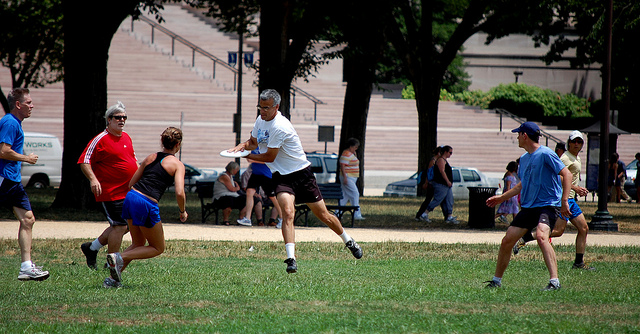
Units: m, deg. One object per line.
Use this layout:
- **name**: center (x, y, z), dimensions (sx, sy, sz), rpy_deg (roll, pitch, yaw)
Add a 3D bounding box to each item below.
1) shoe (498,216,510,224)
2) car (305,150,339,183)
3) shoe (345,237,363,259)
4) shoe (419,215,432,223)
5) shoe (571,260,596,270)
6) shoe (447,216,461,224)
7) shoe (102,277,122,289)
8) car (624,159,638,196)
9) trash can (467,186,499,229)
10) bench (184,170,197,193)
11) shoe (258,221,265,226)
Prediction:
- **shoe**: center (9.491, 2.617, 57.431), dimensions (0.549, 0.314, 0.975), rpy_deg (1, 0, 8)
- **car**: center (0.019, -0.104, 68.281), dimensions (2.774, 2.145, 1.198), rpy_deg (0, 1, -15)
- **shoe**: center (1.486, 3.502, 48.298), dimensions (0.410, 1.118, 0.499), rpy_deg (-48, -10, 24)
- **shoe**: center (5.391, 2.522, 56.952), dimensions (0.681, 0.295, 0.218), rpy_deg (28, 15, -19)
- **shoe**: center (11.620, 4.244, 49.060), dimensions (1.100, 0.404, 0.347), rpy_deg (1, -1, 2)
- **shoe**: center (6.828, 2.616, 56.781), dimensions (0.649, 0.276, 0.494), rpy_deg (1, 0, 14)
- **shoe**: center (-8.672, 4.751, 46.582), dimensions (0.859, 0.346, 0.293), rpy_deg (2, 0, -7)
- **car**: center (19.848, 0.605, 71.274), dimensions (0.708, 2.005, 6.418), rpy_deg (1, 0, 15)
- **trash can**: center (8.141, 1.915, 55.735), dimensions (1.201, 2.029, 1.200), rpy_deg (2, 1, 15)
- **bench**: center (-8.222, 0.815, 70.330), dimensions (0.622, 0.970, 1.736), rpy_deg (1, 0, -7)
- **shoe**: center (-2.913, 2.694, 55.069), dimensions (0.309, 0.154, 0.238), rpy_deg (1, 0, -4)
